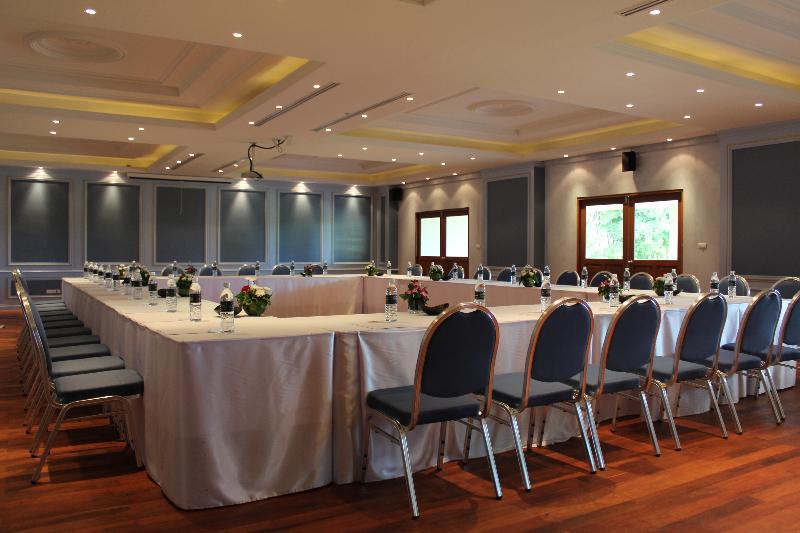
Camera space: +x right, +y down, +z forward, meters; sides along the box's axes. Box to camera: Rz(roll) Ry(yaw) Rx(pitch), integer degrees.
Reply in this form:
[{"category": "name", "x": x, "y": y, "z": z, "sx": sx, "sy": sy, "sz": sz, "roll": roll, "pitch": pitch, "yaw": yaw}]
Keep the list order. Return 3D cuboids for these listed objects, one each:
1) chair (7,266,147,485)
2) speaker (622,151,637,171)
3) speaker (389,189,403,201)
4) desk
[{"category": "chair", "x": -2.970, "y": 1.012, "z": 4.888, "sx": 0.711, "sy": 1.090, "sz": 1.627, "roll": -1, "pitch": 3, "yaw": -24}, {"category": "speaker", "x": 4.358, "y": -2.003, "z": 10.004, "sx": 0.275, "sy": 0.366, "sz": 0.149, "roll": 4, "pitch": 11, "yaw": 19}, {"category": "speaker", "x": -0.086, "y": -2.093, "z": 15.370, "sx": 0.390, "sy": 0.390, "sz": 0.250, "roll": 8, "pitch": 13, "yaw": 38}, {"category": "desk", "x": -0.158, "y": 0.872, "z": 4.681, "sx": 4.485, "sy": 1.136, "sz": 1.861, "roll": -3, "pitch": 10, "yaw": -18}]
